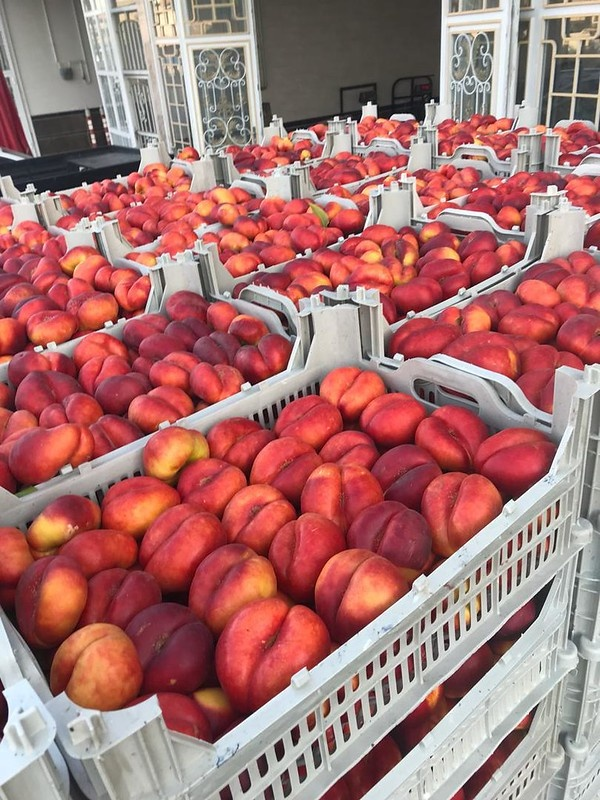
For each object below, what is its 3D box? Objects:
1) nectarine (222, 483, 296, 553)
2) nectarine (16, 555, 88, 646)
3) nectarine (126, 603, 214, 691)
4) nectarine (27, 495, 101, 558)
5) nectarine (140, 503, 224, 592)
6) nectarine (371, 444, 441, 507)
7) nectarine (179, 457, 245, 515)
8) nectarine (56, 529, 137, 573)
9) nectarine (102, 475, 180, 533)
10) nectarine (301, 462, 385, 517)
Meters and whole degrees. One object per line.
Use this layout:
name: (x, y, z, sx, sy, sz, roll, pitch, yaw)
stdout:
nectarine: (-0.108, 0.282, 1.301, 0.153, 0.137, 0.145, 13, -14, -9)
nectarine: (-0.462, 0.373, 1.049, 0.147, 0.163, 0.092, 8, -12, 34)
nectarine: (-0.230, 0.455, 0.974, 0.135, 0.099, 0.153, -17, 31, -19)
nectarine: (-0.546, 0.279, 1.261, 0.117, 0.097, 0.159, -13, 26, 52)
nectarine: (-0.278, 0.321, 1.178, 0.203, 0.109, 0.156, -36, 56, 24)
nectarine: (0.289, 0.199, 1.337, 0.138, 0.075, 0.143, -39, 47, 2)
nectarine: (-0.234, 0.211, 1.379, 0.147, 0.130, 0.133, 10, -5, -19)
nectarine: (-0.431, 0.318, 1.144, 0.082, 0.077, 0.144, 2, 8, 24)
nectarine: (-0.396, 0.244, 1.311, 0.128, 0.153, 0.106, 14, 54, -1)
nectarine: (0.099, 0.210, 1.243, 0.156, 0.132, 0.129, 0, 66, 4)
